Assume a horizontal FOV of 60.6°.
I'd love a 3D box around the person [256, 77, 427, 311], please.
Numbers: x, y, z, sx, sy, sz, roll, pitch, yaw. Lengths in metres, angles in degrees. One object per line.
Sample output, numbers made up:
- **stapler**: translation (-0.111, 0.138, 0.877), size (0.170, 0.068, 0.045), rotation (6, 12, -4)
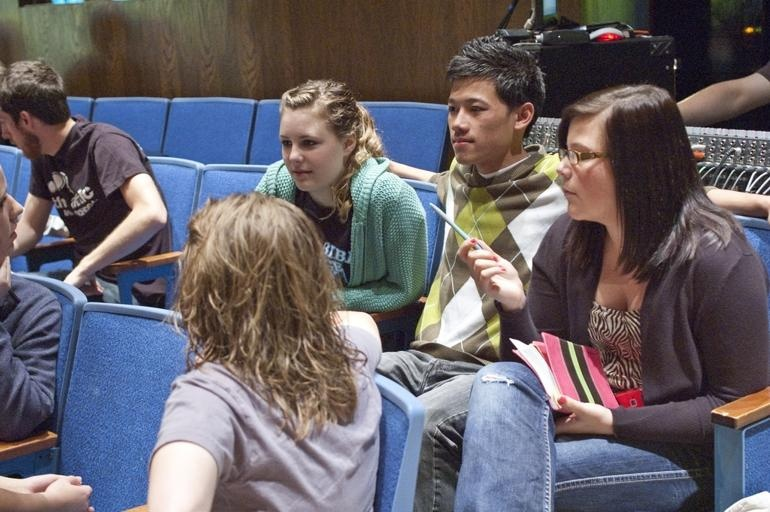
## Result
- **person**: translation (-0.199, -0.199, 2.284), size (0.668, 0.767, 0.464), rotation (8, 19, 28)
